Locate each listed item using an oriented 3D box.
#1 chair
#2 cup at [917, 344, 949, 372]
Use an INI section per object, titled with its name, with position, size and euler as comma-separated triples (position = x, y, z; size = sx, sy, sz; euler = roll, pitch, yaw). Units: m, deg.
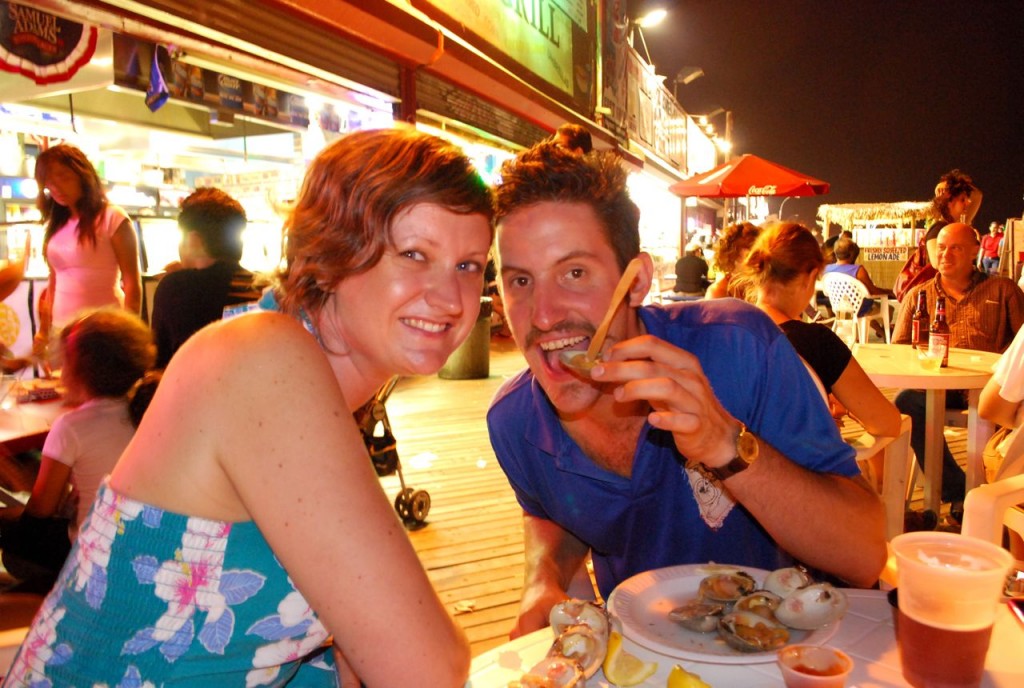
[chair]
position = 3.253, 0.436, 5.409
size = 1.629, 1.816, 1.591
euler = -8, 11, -29
[cup]
position = 3.106, 0.089, 5.279
size = 0.196, 0.140, 0.174
euler = 0, 1, -35
